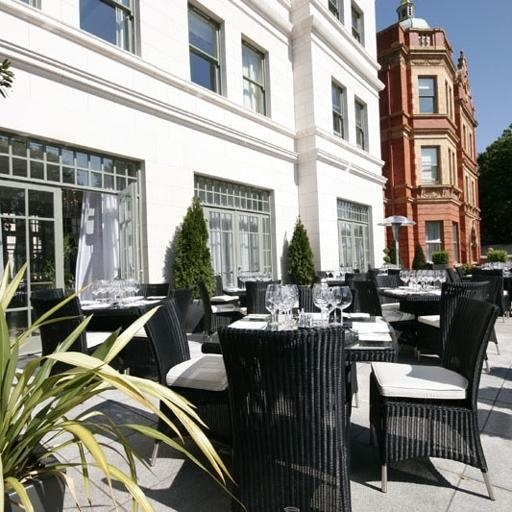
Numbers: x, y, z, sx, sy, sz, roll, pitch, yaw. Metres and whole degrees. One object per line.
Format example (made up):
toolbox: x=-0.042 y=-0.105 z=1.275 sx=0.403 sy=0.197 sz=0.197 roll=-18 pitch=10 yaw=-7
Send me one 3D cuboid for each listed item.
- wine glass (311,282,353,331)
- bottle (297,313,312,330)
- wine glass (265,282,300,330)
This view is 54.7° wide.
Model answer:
wine glass: x=0.423 y=0.292 z=2.798 sx=0.212 sy=0.372 sz=0.131 roll=0 pitch=-6 yaw=-4
bottle: x=0.258 y=0.351 z=2.643 sx=0.057 sy=0.080 sz=0.060 roll=1 pitch=2 yaw=0
wine glass: x=0.141 y=0.258 z=2.753 sx=0.191 sy=0.334 sz=0.195 roll=-3 pitch=5 yaw=-39
